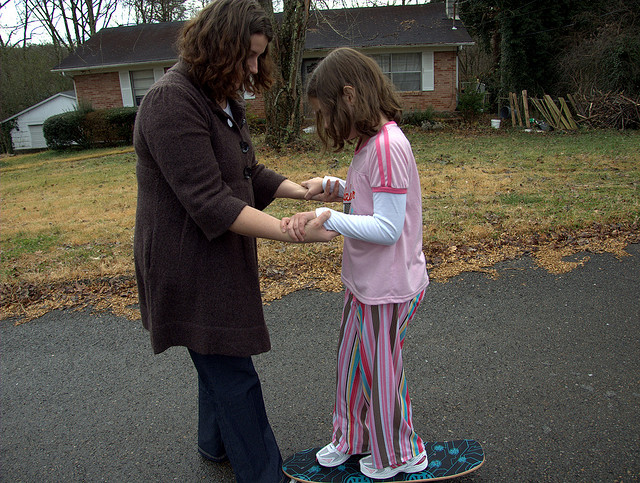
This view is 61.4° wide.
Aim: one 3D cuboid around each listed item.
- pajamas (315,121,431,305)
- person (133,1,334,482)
[{"bbox_3d":[0.294,-0.227,3.705,0.795,1.321,1.047,0,11,-2],"label":"pajamas"},{"bbox_3d":[-0.635,0.095,3.301,0.960,2.918,0.541,-9,13,-21],"label":"person"}]
